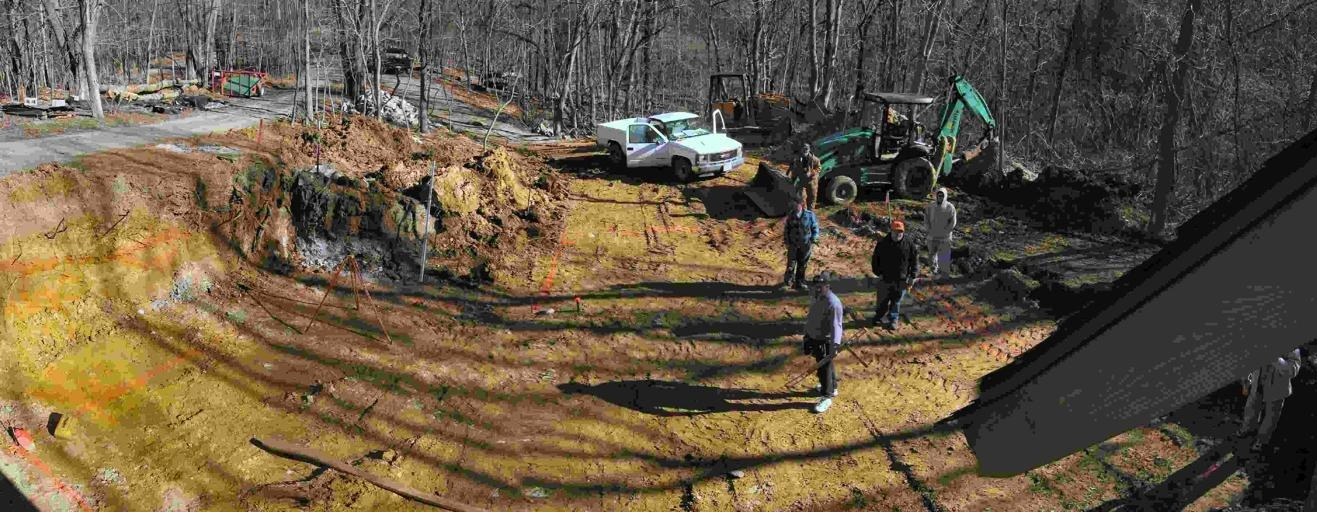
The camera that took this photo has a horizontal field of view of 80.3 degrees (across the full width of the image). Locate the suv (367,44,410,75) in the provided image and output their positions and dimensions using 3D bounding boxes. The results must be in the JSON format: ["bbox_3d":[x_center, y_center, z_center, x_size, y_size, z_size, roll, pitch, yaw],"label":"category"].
[{"bbox_3d":[-20.622,-15.118,60.770,2.019,2.377,4.534,-3,20,-22],"label":"suv"}]

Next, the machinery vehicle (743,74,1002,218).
[{"bbox_3d":[11.530,-5.943,40.356,13.526,5.534,4.509,-6,22,-4],"label":"machinery vehicle"}]

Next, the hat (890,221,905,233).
[{"bbox_3d":[10.189,-1.257,33.156,0.566,0.408,0.865,3,17,37],"label":"hat"}]

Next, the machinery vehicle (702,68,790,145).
[{"bbox_3d":[5.313,-9.194,48.990,5.642,3.427,3.543,-1,23,-4],"label":"machinery vehicle"}]
